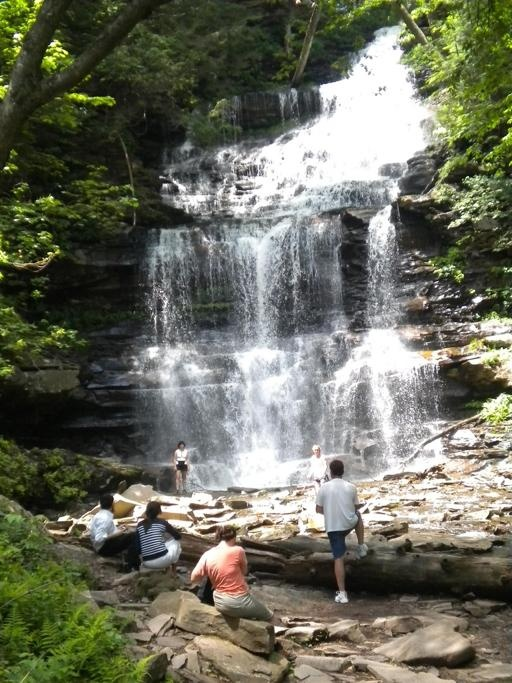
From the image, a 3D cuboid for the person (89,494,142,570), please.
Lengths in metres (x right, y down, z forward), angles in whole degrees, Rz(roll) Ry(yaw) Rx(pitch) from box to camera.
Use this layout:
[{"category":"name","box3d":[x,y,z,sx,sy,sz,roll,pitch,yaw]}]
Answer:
[{"category":"person","box3d":[-1.722,2.288,7.254,0.504,0.839,0.783,-4,-5,-20]}]

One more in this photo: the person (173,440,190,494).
[{"category":"person","box3d":[-1.669,2.799,13.437,0.320,1.098,1.095,-6,-5,-9]}]

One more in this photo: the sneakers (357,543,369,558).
[{"category":"sneakers","box3d":[1.121,2.205,6.356,0.093,0.139,0.154,5,0,20]}]

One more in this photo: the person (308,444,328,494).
[{"category":"person","box3d":[1.052,2.266,10.311,0.310,0.917,0.265,-3,3,1]}]

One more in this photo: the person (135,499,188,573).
[{"category":"person","box3d":[-1.155,2.250,6.822,0.565,0.767,0.500,-14,-21,32]}]

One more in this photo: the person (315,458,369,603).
[{"category":"person","box3d":[0.890,1.969,6.318,0.467,1.443,0.479,-7,-5,11]}]

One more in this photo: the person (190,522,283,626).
[{"category":"person","box3d":[-0.119,2.086,5.269,0.367,0.811,0.938,-22,-26,40]}]
